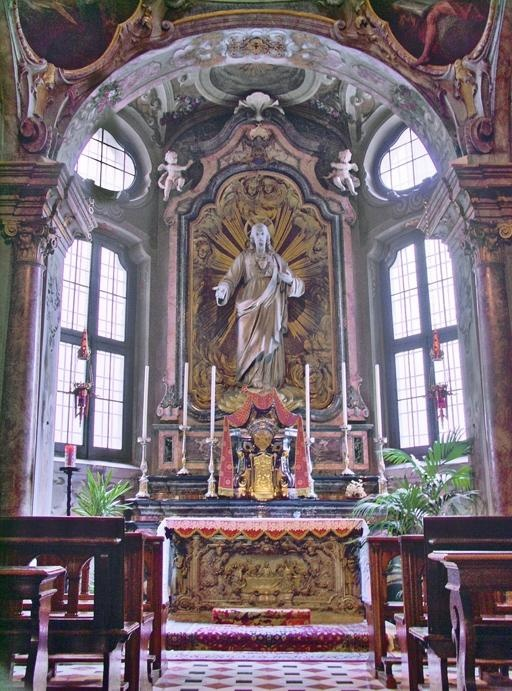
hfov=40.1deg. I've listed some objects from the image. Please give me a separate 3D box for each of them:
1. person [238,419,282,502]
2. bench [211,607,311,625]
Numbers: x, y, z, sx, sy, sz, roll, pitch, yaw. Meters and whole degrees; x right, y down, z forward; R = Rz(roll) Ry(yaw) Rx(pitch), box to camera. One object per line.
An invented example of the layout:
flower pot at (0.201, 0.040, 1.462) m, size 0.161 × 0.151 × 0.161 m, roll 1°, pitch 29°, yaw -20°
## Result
person at (0.033, 1.026, 6.249) m, size 0.397 × 0.726 × 0.208 m, roll -2°, pitch -15°, yaw -1°
bench at (0.035, 2.077, 5.362) m, size 0.735 × 0.128 × 0.167 m, roll -2°, pitch -15°, yaw 0°
